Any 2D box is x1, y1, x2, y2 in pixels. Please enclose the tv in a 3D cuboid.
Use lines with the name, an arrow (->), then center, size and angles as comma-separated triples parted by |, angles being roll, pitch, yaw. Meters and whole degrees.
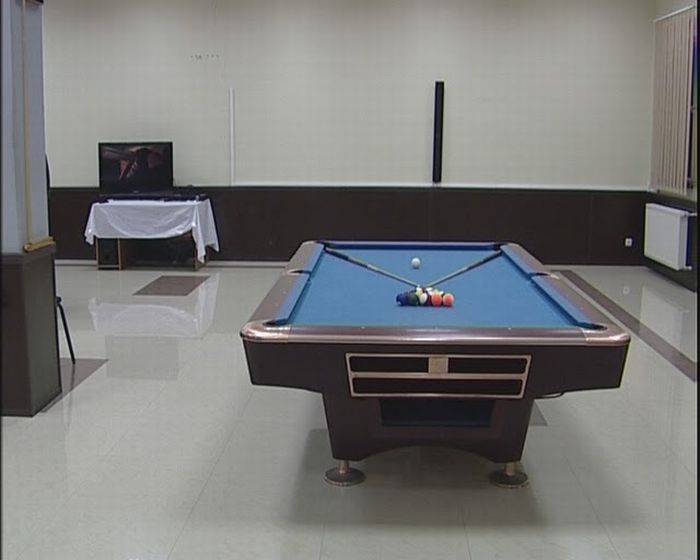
tv -> -2.625, -1.361, 6.904 | 0.887, 0.608, 0.062 | 0, 12, 0

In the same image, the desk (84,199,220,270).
desk -> -2.443, -0.675, 7.150 | 1.369, 0.793, 1.074 | -2, 16, -11

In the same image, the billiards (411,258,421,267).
billiards -> 0.411, -0.111, 3.507 | 0.049, 0.065, 0.053 | -10, 11, -4

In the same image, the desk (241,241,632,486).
desk -> 0.379, 0.239, 2.965 | 1.532, 1.049, 2.398 | 5, 11, 4
